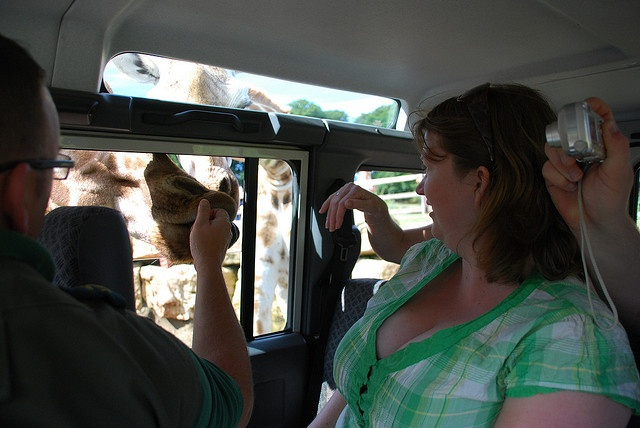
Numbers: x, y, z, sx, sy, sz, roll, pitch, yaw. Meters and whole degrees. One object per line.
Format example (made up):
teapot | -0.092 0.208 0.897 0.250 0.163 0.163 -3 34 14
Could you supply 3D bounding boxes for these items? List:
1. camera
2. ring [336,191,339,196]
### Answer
camera | 0.799 -0.246 1.599 0.173 0.177 0.181 3 -41 35
ring | 0.088 -0.105 2.591 0.020 0.005 0.020 -13 30 8
